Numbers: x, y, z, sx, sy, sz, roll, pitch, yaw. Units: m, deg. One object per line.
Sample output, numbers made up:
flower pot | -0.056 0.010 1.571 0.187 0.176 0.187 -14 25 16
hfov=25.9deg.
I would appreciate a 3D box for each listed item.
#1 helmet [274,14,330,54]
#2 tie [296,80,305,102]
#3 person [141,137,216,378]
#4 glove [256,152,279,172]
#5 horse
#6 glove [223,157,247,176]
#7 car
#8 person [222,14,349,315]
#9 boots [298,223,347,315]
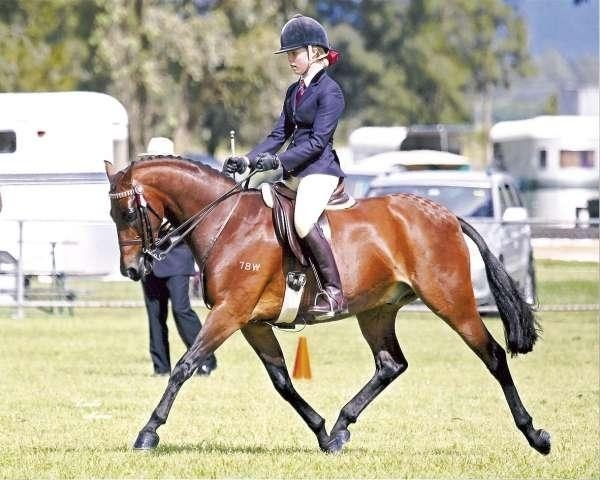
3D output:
helmet | -0.015 -2.012 12.724 0.576 0.357 0.422 -10 7 -22
tie | 0.004 -1.445 12.642 0.065 0.181 0.107 10 4 -43
person | -1.491 0.445 15.045 0.455 1.546 1.848 -6 -31 -19
glove | -0.308 -0.732 12.443 0.226 0.166 0.140 0 9 -3
horse | 0.032 0.644 12.711 3.778 2.833 0.931 -1 9 -8
glove | -0.620 -0.710 12.527 0.238 0.177 0.278 0 9 -3
car | 2.487 -0.690 20.671 1.854 2.819 5.444 -1 4 -16
person | -0.001 -0.707 12.621 1.066 2.905 0.894 3 9 15
boots | 0.226 0.326 12.387 0.439 0.892 0.230 1 8 0
